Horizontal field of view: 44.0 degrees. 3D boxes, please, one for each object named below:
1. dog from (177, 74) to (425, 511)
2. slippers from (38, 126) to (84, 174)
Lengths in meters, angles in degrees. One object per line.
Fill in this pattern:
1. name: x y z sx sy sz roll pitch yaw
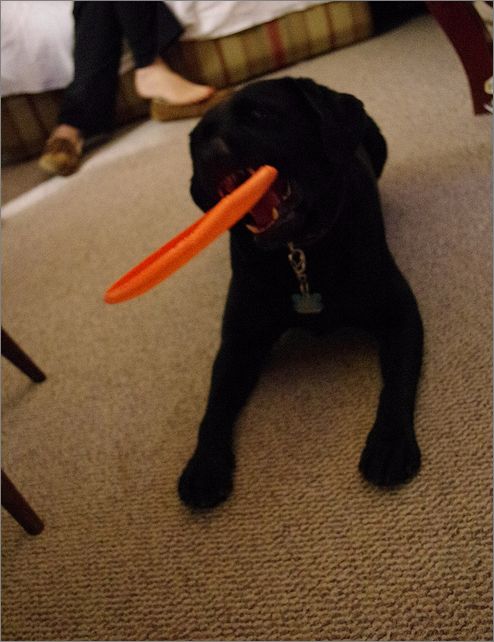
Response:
1. dog: 0.090 -0.129 0.937 0.266 0.390 0.812 -9 27 17
2. slippers: -0.600 -0.550 1.981 0.101 0.073 0.187 2 36 -3
